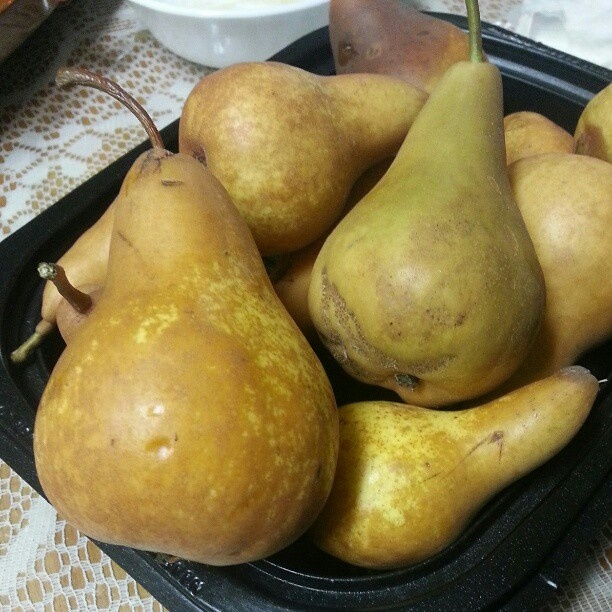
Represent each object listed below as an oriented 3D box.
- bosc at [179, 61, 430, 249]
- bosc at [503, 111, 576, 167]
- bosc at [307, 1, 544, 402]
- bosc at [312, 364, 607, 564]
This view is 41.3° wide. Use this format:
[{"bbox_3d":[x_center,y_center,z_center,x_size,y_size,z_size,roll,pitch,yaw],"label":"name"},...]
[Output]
[{"bbox_3d":[0.010,-0.149,0.706,0.226,0.165,0.144,-23,21,-25],"label":"bosc"},{"bbox_3d":[0.206,-0.146,0.720,0.052,0.057,0.063,15,23,21],"label":"bosc"},{"bbox_3d":[0.111,-0.032,0.616,0.216,0.137,0.165,-43,68,-14],"label":"bosc"},{"bbox_3d":[0.113,0.120,0.654,0.228,0.105,0.119,-31,63,4],"label":"bosc"}]
